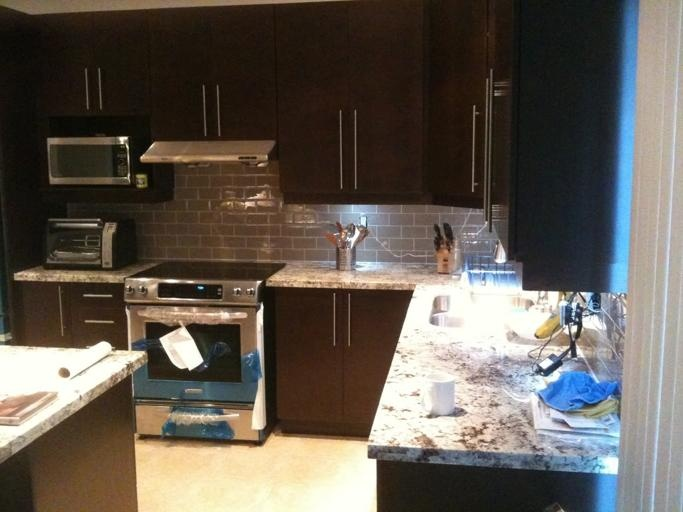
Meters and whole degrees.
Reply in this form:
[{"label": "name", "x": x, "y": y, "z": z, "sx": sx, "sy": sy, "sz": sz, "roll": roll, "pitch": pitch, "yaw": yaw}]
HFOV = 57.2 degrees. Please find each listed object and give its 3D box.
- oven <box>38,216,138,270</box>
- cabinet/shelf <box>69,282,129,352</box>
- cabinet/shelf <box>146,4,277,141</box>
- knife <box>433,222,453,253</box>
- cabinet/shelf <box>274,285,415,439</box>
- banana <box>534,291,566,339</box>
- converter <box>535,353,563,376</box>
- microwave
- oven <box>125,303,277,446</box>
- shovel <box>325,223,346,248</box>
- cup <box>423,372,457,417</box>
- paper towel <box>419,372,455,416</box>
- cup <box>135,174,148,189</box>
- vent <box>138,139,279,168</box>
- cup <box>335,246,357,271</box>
[{"label": "oven", "x": -1.768, "y": -0.082, "z": 4.312, "sx": 0.467, "sy": 0.329, "sz": 0.359, "roll": 2, "pitch": -1, "yaw": -10}, {"label": "cabinet/shelf", "x": -1.551, "y": 0.399, "z": 4.245, "sx": 0.404, "sy": 0.621, "sz": 0.400, "roll": -1, "pitch": 1, "yaw": -1}, {"label": "cabinet/shelf", "x": -0.815, "y": -1.219, "z": 4.077, "sx": 0.833, "sy": 0.818, "sz": 0.330, "roll": 0, "pitch": 4, "yaw": 6}, {"label": "knife", "x": 0.685, "y": -0.137, "z": 4.139, "sx": 0.137, "sy": 0.188, "sz": 0.056, "roll": 7, "pitch": 20, "yaw": 37}, {"label": "cabinet/shelf", "x": 0.015, "y": 0.552, "z": 3.608, "sx": 0.880, "sy": 0.896, "sz": 0.467, "roll": 1, "pitch": 4, "yaw": 9}, {"label": "banana", "x": 0.888, "y": 0.256, "z": 2.674, "sx": 0.057, "sy": 0.093, "sz": 0.278, "roll": 15, "pitch": 49, "yaw": 35}, {"label": "converter", "x": 0.763, "y": 0.401, "z": 2.310, "sx": 0.070, "sy": 0.041, "sz": 0.038, "roll": -38, "pitch": 30, "yaw": -11}, {"label": "microwave", "x": -1.707, "y": -0.643, "z": 4.246, "sx": 0.512, "sy": 0.351, "sz": 0.340, "roll": 0, "pitch": 5, "yaw": 1}, {"label": "oven", "x": -0.895, "y": 0.665, "z": 4.136, "sx": 0.882, "sy": 0.940, "sz": 0.709, "roll": 0, "pitch": 16, "yaw": -5}, {"label": "shovel", "x": -0.040, "y": -0.143, "z": 4.294, "sx": 0.122, "sy": 0.202, "sz": 0.321, "roll": -1, "pitch": 11, "yaw": -3}, {"label": "cup", "x": 0.327, "y": 0.444, "z": 2.046, "sx": 0.112, "sy": 0.124, "sz": 0.092, "roll": -2, "pitch": 11, "yaw": -8}, {"label": "paper towel", "x": 0.312, "y": 0.447, "z": 2.069, "sx": 0.112, "sy": 0.117, "sz": 0.116, "roll": 6, "pitch": 17, "yaw": 22}, {"label": "cup", "x": -1.366, "y": -0.519, "z": 4.295, "sx": 0.089, "sy": 0.107, "sz": 0.091, "roll": 1, "pitch": -4, "yaw": 0}, {"label": "vent", "x": -0.860, "y": -0.680, "z": 4.066, "sx": 0.847, "sy": 0.148, "sz": 0.183, "roll": 1, "pitch": 11, "yaw": 8}, {"label": "cup", "x": 0.026, "y": 0.016, "z": 4.240, "sx": 0.137, "sy": 0.158, "sz": 0.138, "roll": 0, "pitch": 6, "yaw": 0}]
